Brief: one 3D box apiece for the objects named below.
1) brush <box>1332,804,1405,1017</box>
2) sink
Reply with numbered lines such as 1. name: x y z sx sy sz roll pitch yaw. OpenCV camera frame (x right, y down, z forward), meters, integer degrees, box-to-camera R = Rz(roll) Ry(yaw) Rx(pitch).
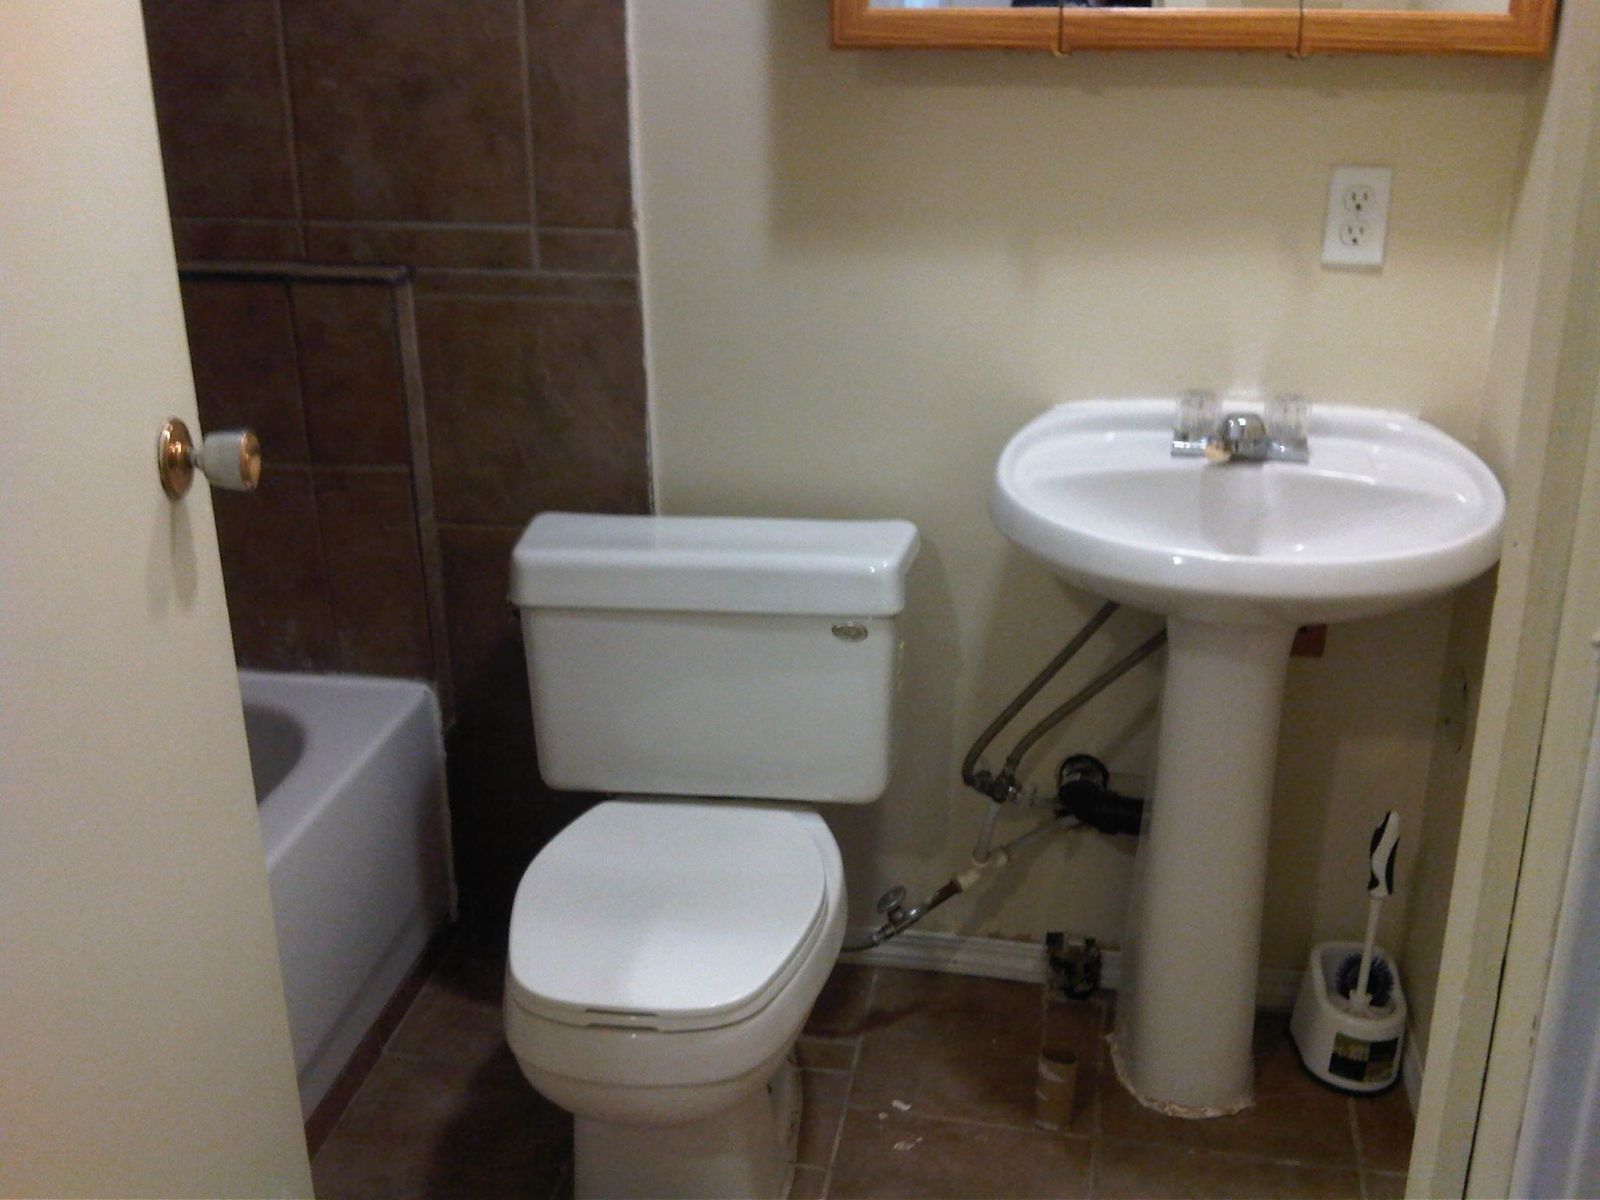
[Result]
1. brush: 0.818 0.450 1.966 0.061 0.298 0.064 0 17 -1
2. sink: 0.553 -0.113 1.757 0.608 0.188 0.452 2 22 9
